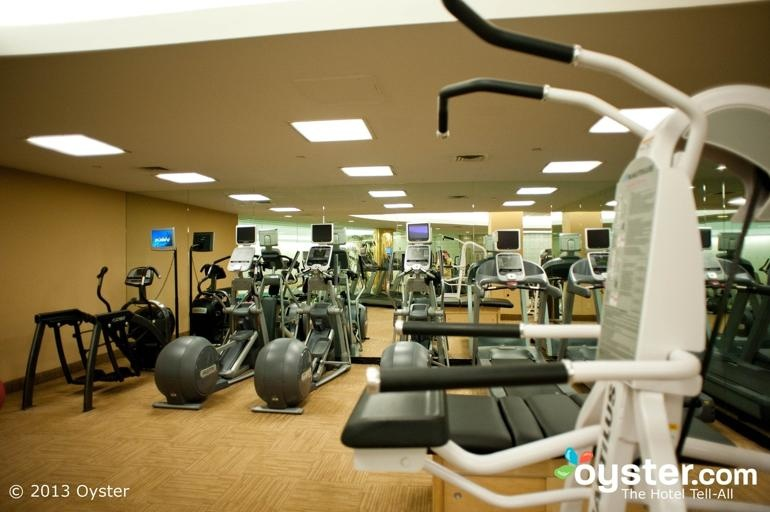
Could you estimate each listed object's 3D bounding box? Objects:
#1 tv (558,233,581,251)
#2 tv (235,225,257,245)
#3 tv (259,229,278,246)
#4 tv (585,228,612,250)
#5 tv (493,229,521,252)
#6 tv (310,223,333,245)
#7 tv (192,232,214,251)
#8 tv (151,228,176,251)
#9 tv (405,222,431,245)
[{"bbox_3d":[2.409,-0.163,6.781,0.377,0.317,0.208,0,2,9],"label":"tv"},{"bbox_3d":[-1.762,-0.269,6.501,0.280,0.265,0.146,0,-2,3],"label":"tv"},{"bbox_3d":[-1.475,-0.228,6.456,0.227,0.221,0.130,-5,15,-17],"label":"tv"},{"bbox_3d":[2.671,-0.207,6.425,0.273,0.291,0.195,4,15,18],"label":"tv"},{"bbox_3d":[1.568,-0.203,6.503,0.307,0.275,0.275,0,-1,7],"label":"tv"},{"bbox_3d":[-0.810,-0.288,6.512,0.283,0.257,0.180,0,14,3],"label":"tv"},{"bbox_3d":[-2.423,-0.195,6.797,0.237,0.173,0.118,-4,-18,11],"label":"tv"},{"bbox_3d":[-2.867,-0.221,6.671,0.471,0.306,0.188,10,18,39],"label":"tv"},{"bbox_3d":[0.443,-0.271,6.663,0.408,0.324,0.240,0,-11,4],"label":"tv"}]
